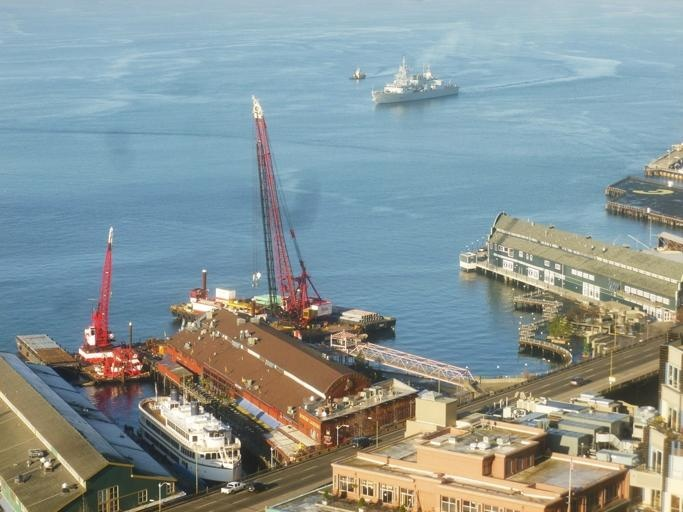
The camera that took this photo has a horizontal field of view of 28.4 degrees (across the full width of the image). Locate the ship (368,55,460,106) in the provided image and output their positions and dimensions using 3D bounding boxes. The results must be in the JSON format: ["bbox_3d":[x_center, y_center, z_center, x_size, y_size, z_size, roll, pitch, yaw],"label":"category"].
[{"bbox_3d":[19.050,-42.609,339.096,35.103,11.285,9.795,-7,9,-44],"label":"ship"}]

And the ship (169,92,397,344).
[{"bbox_3d":[-8.222,-3.148,169.204,34.582,28.274,10.658,9,16,35],"label":"ship"}]

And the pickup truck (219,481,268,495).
[{"bbox_3d":[-8.866,20.903,121.822,3.429,0.883,1.472,-3,10,-17],"label":"pickup truck"}]

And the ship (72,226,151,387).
[{"bbox_3d":[-26.636,5.838,155.512,9.332,15.524,15.452,-5,10,-23],"label":"ship"}]
